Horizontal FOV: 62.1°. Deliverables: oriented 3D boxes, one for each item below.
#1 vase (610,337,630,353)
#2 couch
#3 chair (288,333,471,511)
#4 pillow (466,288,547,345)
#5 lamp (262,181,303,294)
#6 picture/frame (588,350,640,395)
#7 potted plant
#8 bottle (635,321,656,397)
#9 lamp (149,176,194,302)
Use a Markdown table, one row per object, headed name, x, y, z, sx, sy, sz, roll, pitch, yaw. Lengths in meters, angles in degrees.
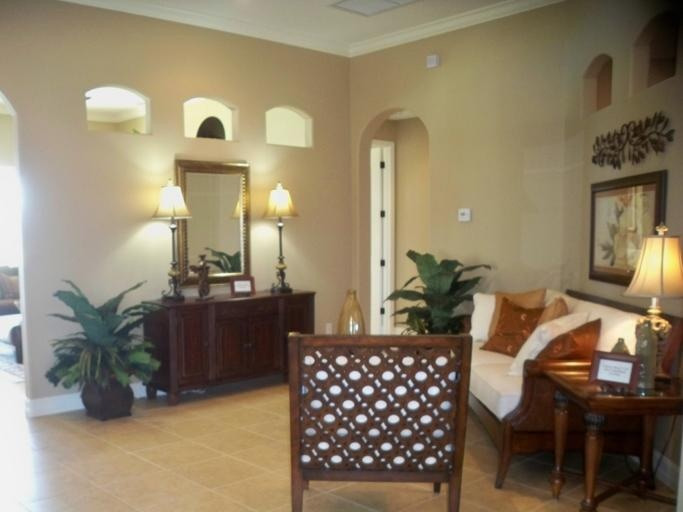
| name | x | y | z | sx | sy | sz | roll | pitch | yaw |
| --- | --- | --- | --- | --- | --- | --- | --- | --- | --- |
| vase | 1.720 | 0.540 | 3.488 | 0.083 | 0.125 | 0.035 | 16 | 1 | 11 |
| couch | 1.573 | 0.546 | 4.230 | 1.025 | 1.183 | 1.855 | 1 | 1 | 6 |
| chair | 0.209 | 0.807 | 3.474 | 0.965 | 1.485 | 0.952 | 0 | 6 | 1 |
| pillow | 1.497 | 0.530 | 5.387 | 0.185 | 0.601 | 0.608 | 23 | -17 | -33 |
| lamp | -0.664 | -0.222 | 6.379 | 0.345 | 1.180 | 0.642 | -1 | 8 | -7 |
| picture/frame | 1.624 | 0.702 | 3.370 | 0.225 | 0.209 | 0.019 | 2 | -10 | 36 |
| potted plant | -2.147 | 0.832 | 5.496 | 1.082 | 1.397 | 1.165 | 0 | -2 | -12 |
| bottle | 1.798 | 0.591 | 3.350 | 0.107 | 0.409 | 0.201 | 3 | 9 | 23 |
| lamp | -1.677 | -0.174 | 5.682 | 0.353 | 1.172 | 0.500 | -3 | 8 | -18 |
